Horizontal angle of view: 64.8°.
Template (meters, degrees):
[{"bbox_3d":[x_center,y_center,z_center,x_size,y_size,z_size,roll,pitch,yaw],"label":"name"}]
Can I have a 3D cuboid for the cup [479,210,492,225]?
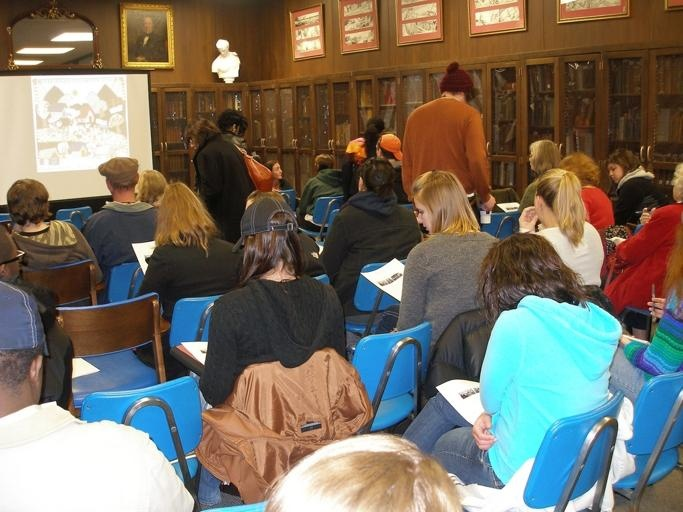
[{"bbox_3d":[1.138,-0.295,4.162,0.117,0.137,0.124,-1,-1,0],"label":"cup"}]

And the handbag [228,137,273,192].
[{"bbox_3d":[-0.851,-0.878,5.072,0.374,0.535,0.310,-7,12,-12],"label":"handbag"}]

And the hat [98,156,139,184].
[{"bbox_3d":[-1.668,-0.639,4.085,0.270,0.220,0.256,-11,13,-30],"label":"hat"}]

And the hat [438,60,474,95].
[{"bbox_3d":[0.886,-1.397,4.198,0.247,0.267,0.235,0,19,7],"label":"hat"}]

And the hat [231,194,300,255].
[{"bbox_3d":[-0.275,-0.120,1.975,0.145,0.123,0.211,-13,0,-39],"label":"hat"}]

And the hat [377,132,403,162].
[{"bbox_3d":[0.552,-1.254,6.228,0.267,0.299,0.385,-4,12,3],"label":"hat"}]

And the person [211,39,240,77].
[{"bbox_3d":[-2.218,-3.771,10.249,0.594,0.933,0.328,-5,23,-8],"label":"person"}]
